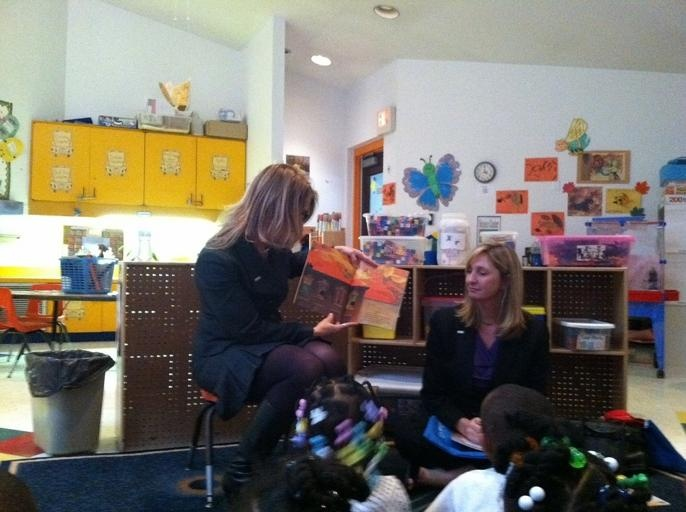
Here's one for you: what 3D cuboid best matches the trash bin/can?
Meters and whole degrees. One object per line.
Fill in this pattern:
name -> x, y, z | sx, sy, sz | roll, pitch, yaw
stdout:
trash bin/can -> -1.493, 0.757, 3.174 | 0.574, 0.587, 0.496 | 0, 3, -27

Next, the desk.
desk -> -2.756, 0.643, 5.290 | 0.783, 0.706, 0.759 | 2, -4, -38

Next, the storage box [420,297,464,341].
storage box -> 0.550, 0.395, 3.264 | 0.300, 0.275, 0.220 | 0, -1, -13

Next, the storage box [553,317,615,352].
storage box -> 1.385, 0.452, 3.150 | 0.173, 0.103, 0.266 | 1, -1, 1

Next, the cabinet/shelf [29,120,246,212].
cabinet/shelf -> -2.401, -0.982, 6.545 | 2.317, 0.948, 0.486 | 2, 6, -15

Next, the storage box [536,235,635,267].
storage box -> 1.449, -0.020, 3.254 | 0.359, 0.124, 0.246 | 1, -4, 10

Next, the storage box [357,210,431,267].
storage box -> 0.296, -0.079, 3.503 | 0.406, 0.282, 0.321 | 1, -6, -9

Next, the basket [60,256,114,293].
basket -> -1.795, 0.137, 3.774 | 0.320, 0.205, 0.258 | 1, -5, -8

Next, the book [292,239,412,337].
book -> 0.053, 0.168, 2.604 | 0.623, 0.402, 0.143 | 21, -34, -14

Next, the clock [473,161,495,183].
clock -> 1.535, -0.903, 5.861 | 0.240, 0.231, 0.058 | 3, 2, 19
